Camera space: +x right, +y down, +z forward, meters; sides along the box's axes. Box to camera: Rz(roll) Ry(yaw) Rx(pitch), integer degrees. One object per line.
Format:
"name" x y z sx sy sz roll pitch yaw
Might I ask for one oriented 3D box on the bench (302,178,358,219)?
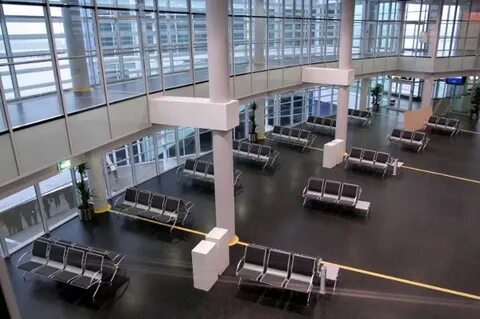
"bench" 4.115 1.601 15.353 2.363 1.016 1.108 9 24 19

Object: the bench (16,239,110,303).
"bench" -5.877 3.557 11.604 3.124 1.175 1.160 8 24 17

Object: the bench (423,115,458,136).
"bench" 14.486 -2.420 24.400 2.007 0.935 0.918 20 30 38

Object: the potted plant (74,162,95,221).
"potted plant" -6.682 1.312 14.603 0.692 2.538 1.116 -9 26 -20

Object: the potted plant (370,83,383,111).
"potted plant" 11.912 -5.459 29.872 0.924 2.128 1.296 10 25 19

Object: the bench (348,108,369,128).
"bench" 9.208 -3.237 26.206 1.711 0.963 1.356 9 24 19

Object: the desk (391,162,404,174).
"desk" 8.420 0.476 18.283 0.351 0.433 0.581 17 -16 19

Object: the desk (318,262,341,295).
"desk" 2.889 3.772 11.115 0.621 0.887 0.908 9 24 18

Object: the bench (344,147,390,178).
"bench" 7.047 0.074 18.656 2.253 1.028 0.946 11 25 23

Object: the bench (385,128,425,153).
"bench" 10.726 -1.307 21.816 2.354 0.990 1.643 10 24 21

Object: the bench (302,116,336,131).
"bench" 5.919 -2.590 25.009 2.262 0.884 0.587 16 28 33
